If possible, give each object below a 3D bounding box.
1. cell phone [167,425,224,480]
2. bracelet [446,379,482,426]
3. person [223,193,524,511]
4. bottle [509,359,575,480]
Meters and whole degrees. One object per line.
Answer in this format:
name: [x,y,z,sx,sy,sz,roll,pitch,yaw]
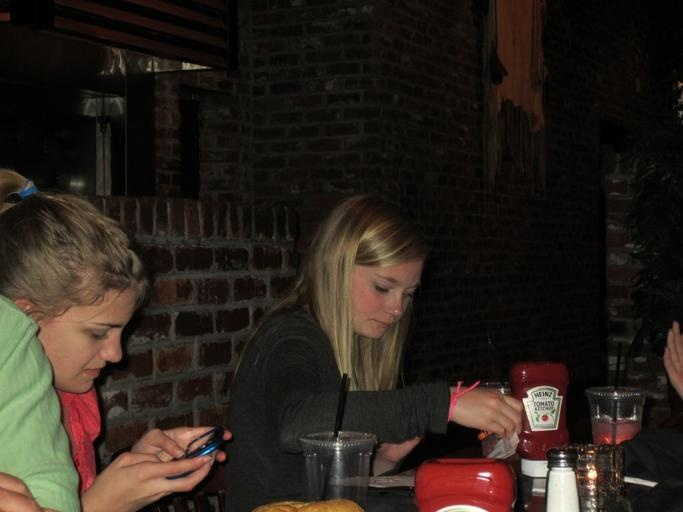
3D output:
cell phone: [-0.329,0.470,1.539,0.154,0.036,0.085,-30,23,23]
bracelet: [0.305,0.334,1.511,0.030,0.107,0.081,35,-19,-6]
person: [0.077,0.338,2.192,0.986,1.286,0.746,-5,-15,14]
bottle: [0.540,0.443,1.737,0.150,0.306,0.143,2,-4,0]
